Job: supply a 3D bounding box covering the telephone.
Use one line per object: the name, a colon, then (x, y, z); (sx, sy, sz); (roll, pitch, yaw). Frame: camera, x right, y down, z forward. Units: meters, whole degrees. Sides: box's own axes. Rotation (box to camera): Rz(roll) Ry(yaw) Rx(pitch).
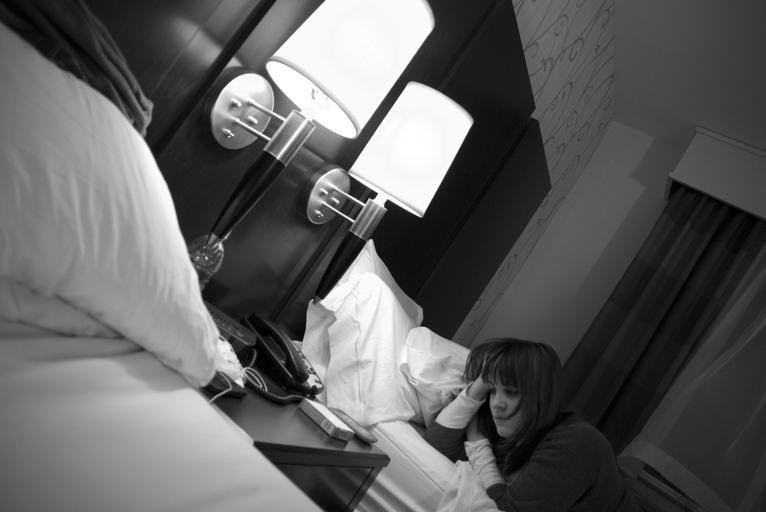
telephone: (-0.298, 0.295, 1.590); (0.274, 0.094, 0.215); (30, -2, 39)
